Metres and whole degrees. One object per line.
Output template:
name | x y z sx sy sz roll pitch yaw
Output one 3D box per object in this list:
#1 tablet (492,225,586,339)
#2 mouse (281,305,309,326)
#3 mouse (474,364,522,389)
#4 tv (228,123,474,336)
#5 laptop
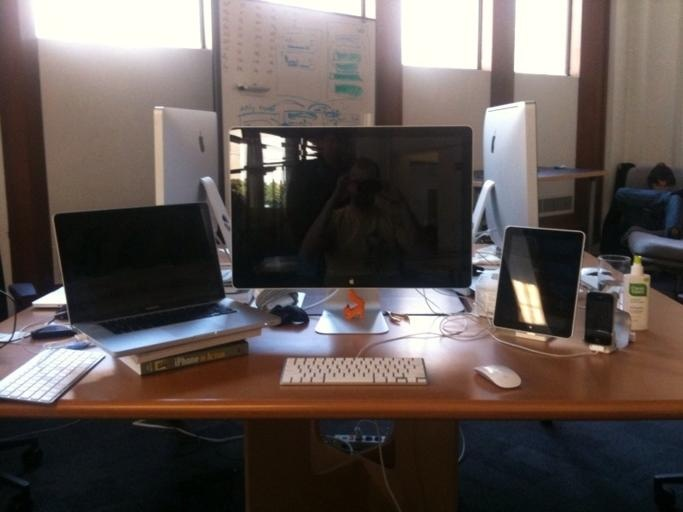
tablet | 0.639 0.094 1.831 0.321 0.439 0.037 8 -6 21
mouse | -0.159 0.202 1.928 0.073 0.026 0.064 -1 10 -19
mouse | 0.437 0.332 1.577 0.128 0.029 0.083 10 21 31
tv | 0.028 -0.101 1.903 0.703 0.601 0.186 0 8 0
laptop | -0.612 0.031 1.801 0.564 0.396 0.490 -10 17 -36
